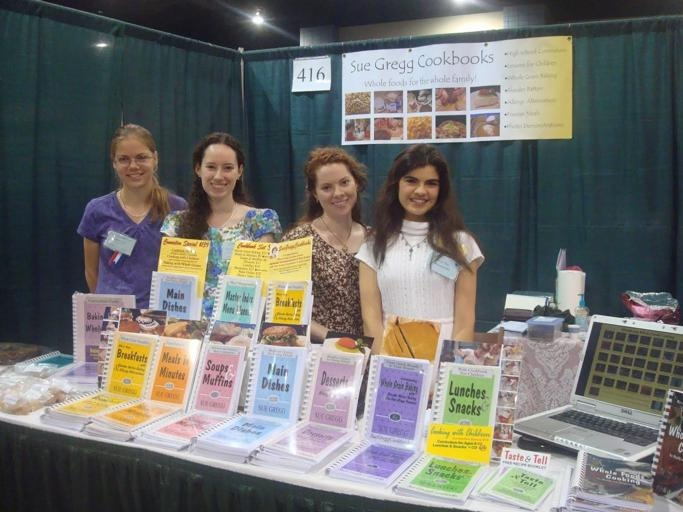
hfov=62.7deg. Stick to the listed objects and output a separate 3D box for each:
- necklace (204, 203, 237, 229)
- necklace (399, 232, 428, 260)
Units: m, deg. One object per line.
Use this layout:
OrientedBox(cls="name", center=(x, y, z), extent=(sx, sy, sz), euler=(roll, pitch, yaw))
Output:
OrientedBox(cls="necklace", center=(-0.584, -0.195, 2.772), extent=(0.104, 0.143, 0.052), euler=(-6, -13, 8))
OrientedBox(cls="necklace", center=(0.320, -0.042, 2.505), extent=(0.108, 0.096, 0.035), euler=(14, -12, 13))
